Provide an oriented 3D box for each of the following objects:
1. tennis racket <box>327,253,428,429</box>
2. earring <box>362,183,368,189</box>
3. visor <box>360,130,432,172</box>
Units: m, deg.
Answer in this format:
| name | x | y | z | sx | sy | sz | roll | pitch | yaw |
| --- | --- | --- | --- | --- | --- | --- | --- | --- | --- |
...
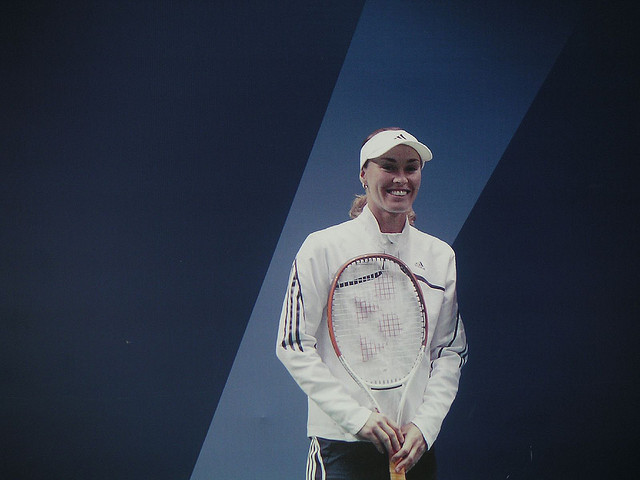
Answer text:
| name | x | y | z | sx | sy | sz | roll | pitch | yaw |
| --- | --- | --- | --- | --- | --- | --- | --- | --- | --- |
| tennis racket | 0.317 | 0.545 | 3.785 | 0.486 | 0.933 | 0.594 | -1 | -3 | -16 |
| earring | 0.254 | -0.302 | 3.806 | 0.017 | 0.029 | 0.031 | 5 | -45 | -5 |
| visor | 0.406 | -0.493 | 3.732 | 0.409 | 0.181 | 0.194 | -7 | -50 | 13 |
